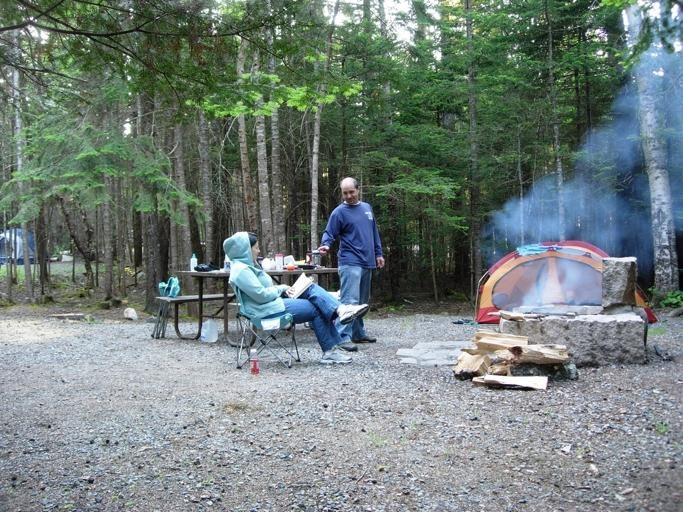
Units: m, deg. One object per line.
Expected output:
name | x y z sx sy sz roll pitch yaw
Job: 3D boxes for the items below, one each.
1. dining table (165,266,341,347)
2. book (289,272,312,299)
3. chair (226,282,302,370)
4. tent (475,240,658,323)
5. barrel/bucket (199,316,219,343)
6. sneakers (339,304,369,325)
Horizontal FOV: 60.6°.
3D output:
dining table | -1.505 0.863 10.061 1.953 0.962 2.286 -7 -10 37
book | -0.556 0.374 7.661 0.310 0.308 0.091 40 4 -24
chair | -1.019 0.846 7.768 0.868 1.096 0.699 -1 -5 -4
tent | 3.352 0.562 10.011 2.018 1.585 0.927 3 16 21
barrel/bucket | -2.151 1.194 9.314 0.407 0.444 0.347 2 -5 -20
sneakers | 0.144 0.732 7.408 0.418 0.252 0.274 -7 15 -21
